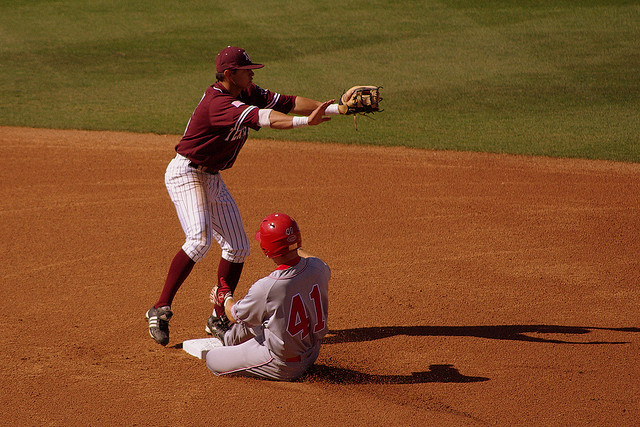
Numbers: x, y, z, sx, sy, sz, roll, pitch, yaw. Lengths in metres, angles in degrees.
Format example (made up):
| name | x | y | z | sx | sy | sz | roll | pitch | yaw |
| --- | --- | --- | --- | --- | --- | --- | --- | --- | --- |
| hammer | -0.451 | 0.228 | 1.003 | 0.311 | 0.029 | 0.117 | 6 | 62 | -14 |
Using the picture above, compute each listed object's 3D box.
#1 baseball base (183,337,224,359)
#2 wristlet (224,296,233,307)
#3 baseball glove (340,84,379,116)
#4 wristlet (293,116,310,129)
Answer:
| name | x | y | z | sx | sy | sz | roll | pitch | yaw |
| --- | --- | --- | --- | --- | --- | --- | --- | --- | --- |
| baseball base | -1.597 | 1.852 | 13.723 | 0.542 | 0.185 | 0.306 | -3 | 19 | -8 |
| wristlet | -1.212 | 1.184 | 13.363 | 0.056 | 0.176 | 0.072 | 17 | -13 | 2 |
| baseball glove | 0.566 | -1.547 | 13.664 | 0.455 | 0.194 | 0.356 | 3 | 12 | 34 |
| wristlet | -0.243 | -1.197 | 13.177 | 0.186 | 0.090 | 0.117 | -2 | 56 | -8 |
